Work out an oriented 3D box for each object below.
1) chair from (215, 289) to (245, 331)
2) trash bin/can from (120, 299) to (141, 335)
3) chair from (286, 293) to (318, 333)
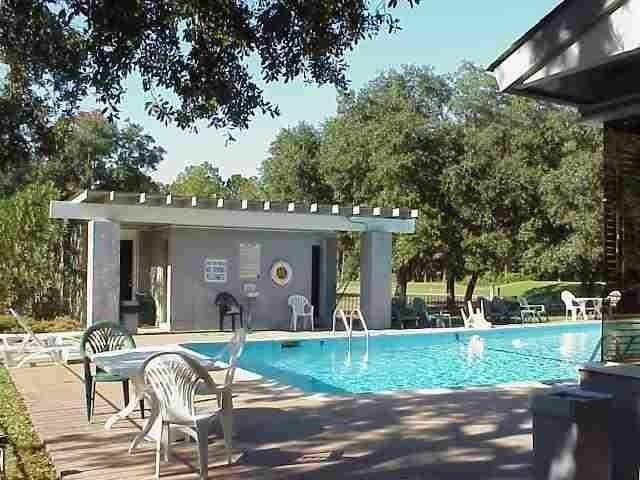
[{"bbox_3d":[-2.108,1.677,14.323,0.500,0.799,0.534,-4,9,-12],"label":"chair"},{"bbox_3d":[-4.157,1.683,13.222,0.534,0.582,0.560,-10,-4,32],"label":"trash bin/can"},{"bbox_3d":[-0.501,1.743,14.804,0.581,0.865,0.656,1,-1,8],"label":"chair"}]
